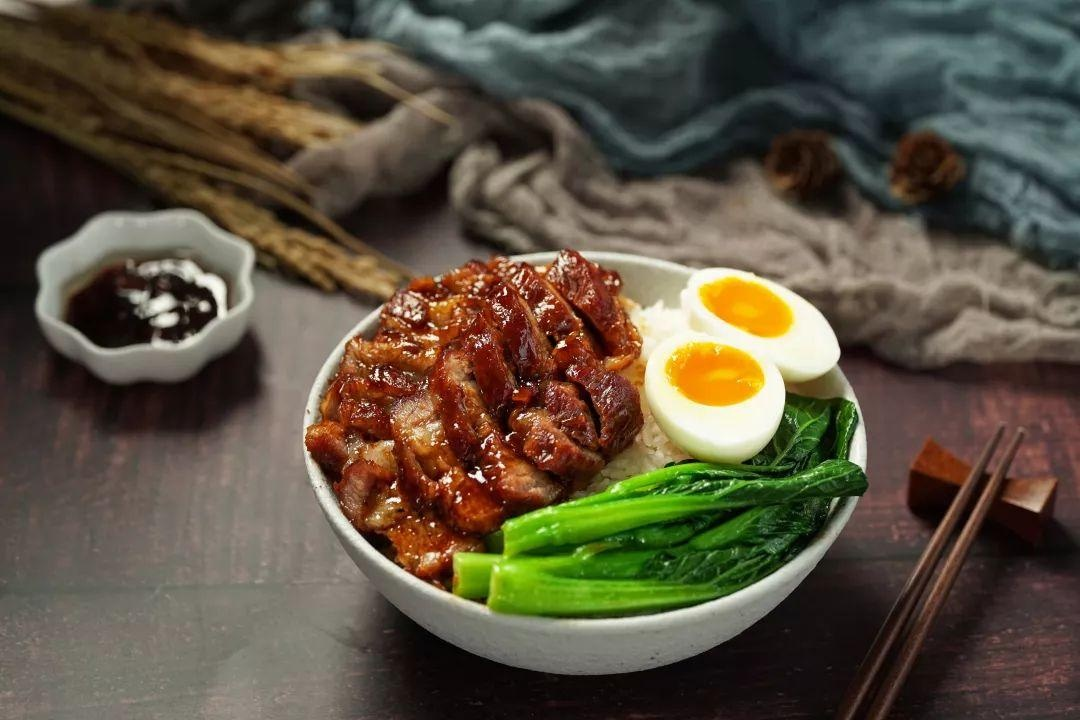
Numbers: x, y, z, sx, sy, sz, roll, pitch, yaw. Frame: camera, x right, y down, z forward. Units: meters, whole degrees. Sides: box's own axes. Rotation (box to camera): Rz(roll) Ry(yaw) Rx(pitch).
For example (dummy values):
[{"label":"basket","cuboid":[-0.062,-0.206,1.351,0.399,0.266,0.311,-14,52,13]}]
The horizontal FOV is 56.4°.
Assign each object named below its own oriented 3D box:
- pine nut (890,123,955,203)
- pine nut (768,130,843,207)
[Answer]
[{"label":"pine nut","cuboid":[1.787,-0.898,4.732,0.343,0.114,0.318,-39,77,-13]},{"label":"pine nut","cuboid":[1.247,-0.929,4.804,0.355,0.191,0.343,0,105,13]}]
